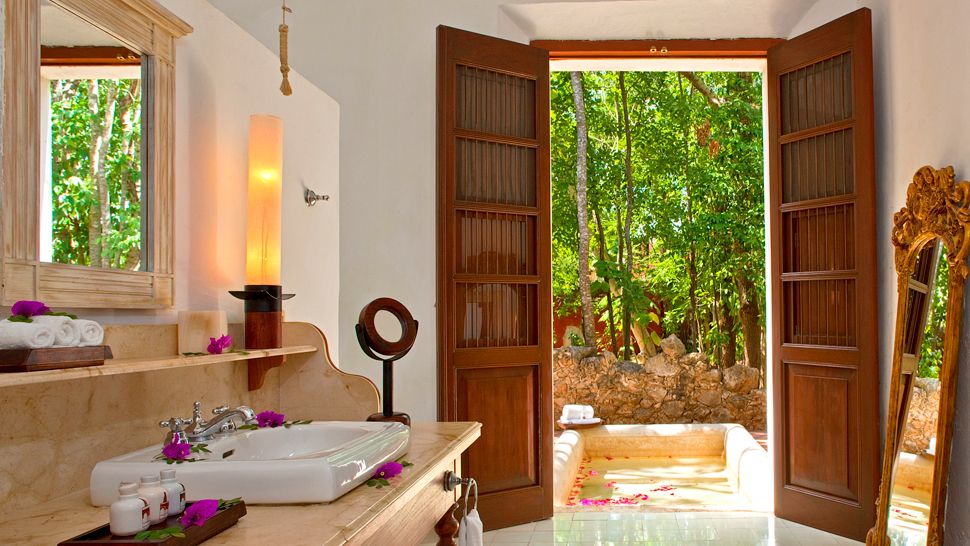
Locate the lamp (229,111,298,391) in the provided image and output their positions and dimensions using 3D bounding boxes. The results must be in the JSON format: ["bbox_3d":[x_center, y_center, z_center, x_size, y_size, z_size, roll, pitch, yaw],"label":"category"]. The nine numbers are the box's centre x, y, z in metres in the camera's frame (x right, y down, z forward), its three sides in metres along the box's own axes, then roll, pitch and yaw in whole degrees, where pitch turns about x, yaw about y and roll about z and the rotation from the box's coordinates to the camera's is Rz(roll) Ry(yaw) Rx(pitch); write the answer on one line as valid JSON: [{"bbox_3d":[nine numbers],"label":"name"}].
[{"bbox_3d":[-1.068,-0.203,3.078,0.259,1.144,0.147,2,-2,-21],"label":"lamp"}]

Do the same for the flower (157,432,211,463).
[{"bbox_3d":[-1.155,0.677,2.413,0.132,0.053,0.132,-5,-5,25],"label":"flower"}]

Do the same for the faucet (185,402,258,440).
[{"bbox_3d":[-1.108,0.631,2.659,0.280,0.119,0.169,-1,-2,6],"label":"faucet"}]

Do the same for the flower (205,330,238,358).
[{"bbox_3d":[-1.145,0.316,2.778,0.092,0.046,0.092,0,4,26],"label":"flower"}]

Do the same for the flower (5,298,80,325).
[{"bbox_3d":[-1.583,0.140,2.247,0.149,0.055,0.123,2,-5,-18],"label":"flower"}]
